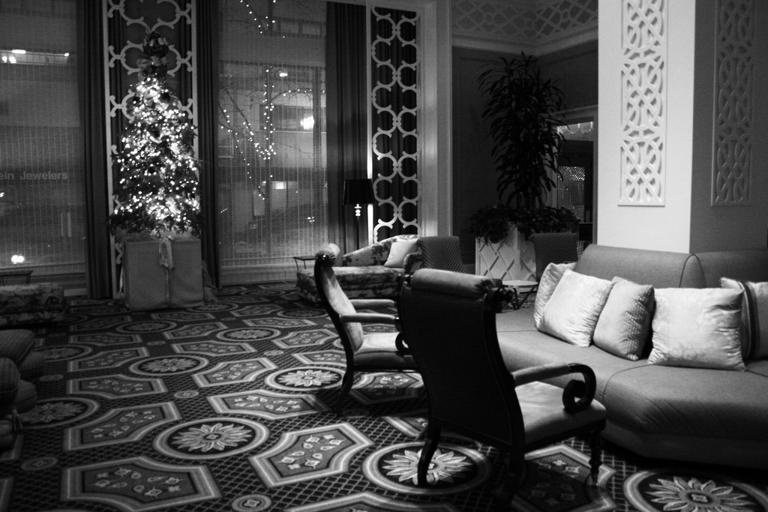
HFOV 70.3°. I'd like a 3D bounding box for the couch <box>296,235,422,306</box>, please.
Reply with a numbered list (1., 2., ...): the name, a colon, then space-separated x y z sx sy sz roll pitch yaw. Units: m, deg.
1. couch: -0.371 0.172 8.043 1.628 0.981 0.995 1 1 -19
